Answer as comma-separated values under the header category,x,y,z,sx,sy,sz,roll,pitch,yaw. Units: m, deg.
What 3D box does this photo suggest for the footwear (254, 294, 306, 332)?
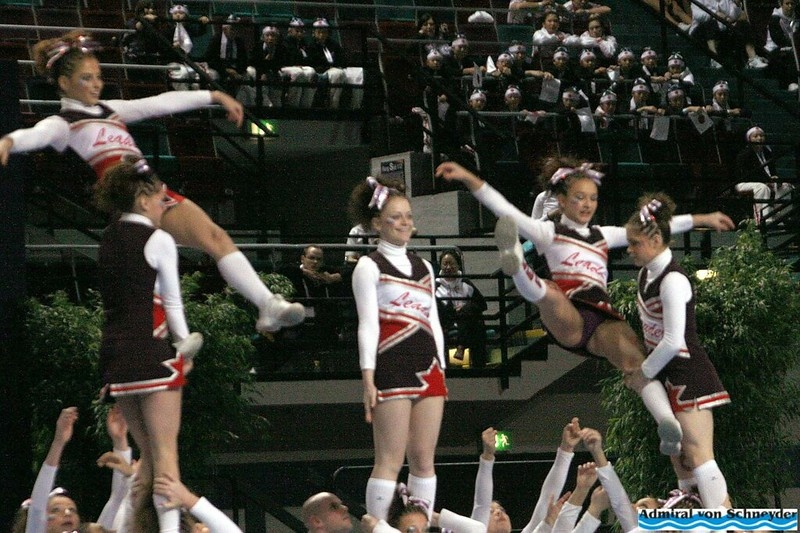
category,x,y,z,sx,sy,sz,roll,pitch,yaw
footwear,-0.929,0.363,10.015,0.381,0.228,0.232,-17,26,10

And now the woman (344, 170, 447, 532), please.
category,x,y,z,sx,sy,sz,roll,pitch,yaw
woman,0.003,0.631,10.255,0.733,2.620,0.888,-1,10,-3

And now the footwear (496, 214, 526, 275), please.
category,x,y,z,sx,sy,sz,roll,pitch,yaw
footwear,0.911,-0.182,10.341,0.206,0.470,0.212,-5,-2,6

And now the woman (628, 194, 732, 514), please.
category,x,y,z,sx,sy,sz,roll,pitch,yaw
woman,2.370,0.719,10.682,0.772,1.609,0.726,1,2,-1

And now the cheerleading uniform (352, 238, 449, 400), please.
category,x,y,z,sx,sy,sz,roll,pitch,yaw
cheerleading uniform,0.041,0.451,10.195,0.786,1.138,0.319,-5,-8,-13

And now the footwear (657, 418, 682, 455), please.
category,x,y,z,sx,sy,sz,roll,pitch,yaw
footwear,2.152,1.373,10.201,0.141,0.341,0.149,2,39,16

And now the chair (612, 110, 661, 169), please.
category,x,y,z,sx,sy,sz,roll,pitch,yaw
chair,2.851,-1.506,15.401,0.700,0.631,1.239,6,7,17
